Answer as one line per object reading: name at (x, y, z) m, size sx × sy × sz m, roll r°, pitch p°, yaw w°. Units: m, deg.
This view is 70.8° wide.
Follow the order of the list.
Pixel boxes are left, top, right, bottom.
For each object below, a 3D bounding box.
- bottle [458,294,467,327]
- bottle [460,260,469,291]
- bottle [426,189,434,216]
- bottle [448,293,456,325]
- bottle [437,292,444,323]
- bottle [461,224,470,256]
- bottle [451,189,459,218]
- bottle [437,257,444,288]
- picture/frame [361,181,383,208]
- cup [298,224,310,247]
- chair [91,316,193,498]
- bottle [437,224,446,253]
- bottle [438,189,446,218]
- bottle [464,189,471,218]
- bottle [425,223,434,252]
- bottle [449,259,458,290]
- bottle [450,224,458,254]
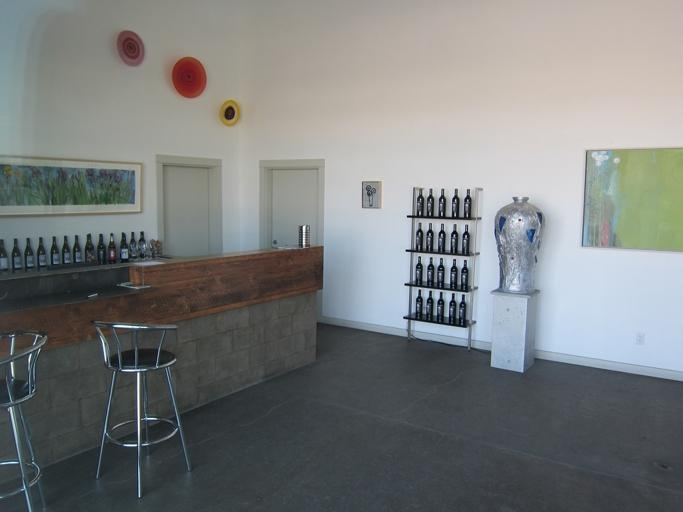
bottle at (1.471, 0.658, 5.808) m, size 0.086 × 0.314 × 0.285 m, roll 4°, pitch 11°, yaw 15°
bottle at (1.498, 0.235, 5.802) m, size 0.103 × 0.318 × 0.268 m, roll 4°, pitch 11°, yaw 14°
bottle at (1.088, -0.646, 5.907) m, size 0.086 × 0.326 × 0.204 m, roll 2°, pitch 11°, yaw 8°
bottle at (1.361, 0.655, 5.857) m, size 0.103 × 0.306 × 0.295 m, roll 3°, pitch 11°, yaw 14°
bottle at (1.223, 0.626, 5.912) m, size 0.109 × 0.339 × 0.298 m, roll 3°, pitch 11°, yaw 13°
bottle at (1.500, -0.184, 5.757) m, size 0.105 × 0.331 × 0.234 m, roll 4°, pitch 11°, yaw 15°
bottle at (1.382, -0.630, 5.787) m, size 0.098 × 0.322 × 0.221 m, roll 3°, pitch 11°, yaw 13°
bottle at (1.230, 0.214, 5.904) m, size 0.100 × 0.321 × 0.283 m, roll 3°, pitch 11°, yaw 12°
picture/frame at (0.410, -0.813, 6.335) m, size 0.317 × 0.462 × 0.049 m, roll 3°, pitch 7°, yaw 35°
cup at (-0.406, -0.203, 5.131) m, size 0.113 × 0.207 × 0.226 m, roll 0°, pitch 11°, yaw -6°
chair at (-1.475, 0.919, 3.474) m, size 0.619 × 1.144 × 1.026 m, roll -4°, pitch 12°, yaw -24°
bottle at (1.229, -0.214, 5.871) m, size 0.102 × 0.339 × 0.230 m, roll 3°, pitch 11°, yaw 12°
bottle at (1.241, -0.650, 5.886) m, size 0.100 × 0.315 × 0.101 m, roll 1°, pitch 10°, yaw 0°
bottle at (1.507, -0.612, 5.703) m, size 0.094 × 0.337 × 0.179 m, roll 3°, pitch 11°, yaw 14°
bottle at (1.094, -0.231, 5.931) m, size 0.098 × 0.332 × 0.260 m, roll 3°, pitch 11°, yaw 11°
bottle at (1.373, 0.220, 5.851) m, size 0.102 × 0.318 × 0.259 m, roll 3°, pitch 11°, yaw 13°
bottle at (1.373, -0.199, 5.817) m, size 0.108 × 0.339 × 0.236 m, roll 3°, pitch 11°, yaw 13°
